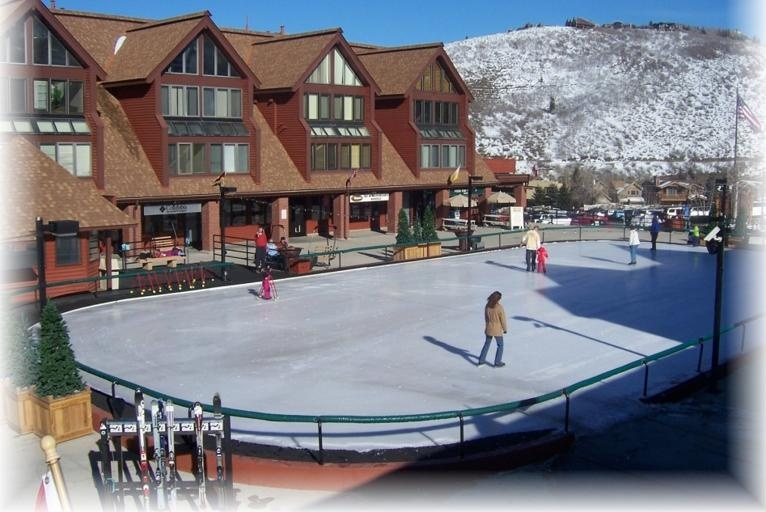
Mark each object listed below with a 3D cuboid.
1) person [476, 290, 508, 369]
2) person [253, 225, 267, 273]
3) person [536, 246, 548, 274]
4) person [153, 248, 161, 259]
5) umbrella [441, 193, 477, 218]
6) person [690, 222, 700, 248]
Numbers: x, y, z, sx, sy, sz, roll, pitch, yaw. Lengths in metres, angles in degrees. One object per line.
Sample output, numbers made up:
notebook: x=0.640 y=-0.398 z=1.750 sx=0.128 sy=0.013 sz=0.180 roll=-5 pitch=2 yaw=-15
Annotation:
person: x=3.425 y=2.336 z=25.367 sx=0.963 sy=1.631 sz=1.271 roll=-4 pitch=2 yaw=6
person: x=-5.936 y=-0.260 z=38.633 sx=0.588 sy=1.793 sz=1.195 roll=-4 pitch=2 yaw=-9
person: x=7.980 y=0.164 z=40.077 sx=0.493 sy=1.379 sz=2.020 roll=-3 pitch=2 yaw=11
person: x=-11.303 y=-0.124 z=39.953 sx=0.573 sy=0.356 sz=0.780 roll=-11 pitch=11 yaw=-10
umbrella: x=5.494 y=-3.868 z=58.837 sx=2.026 sy=0.934 sz=2.043 roll=-4 pitch=9 yaw=-9
person: x=19.867 y=-1.268 z=50.684 sx=0.550 sy=1.275 sz=2.103 roll=-3 pitch=2 yaw=21
